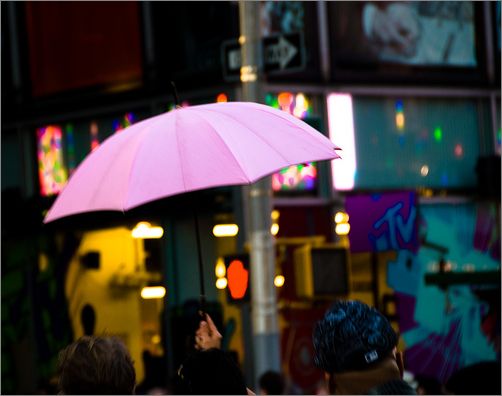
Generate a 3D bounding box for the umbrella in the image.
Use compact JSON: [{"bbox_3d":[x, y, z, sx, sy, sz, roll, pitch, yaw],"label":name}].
[{"bbox_3d":[-0.585,0.105,9.426,1.969,1.979,1.966,-2,14,43],"label":"umbrella"}]
